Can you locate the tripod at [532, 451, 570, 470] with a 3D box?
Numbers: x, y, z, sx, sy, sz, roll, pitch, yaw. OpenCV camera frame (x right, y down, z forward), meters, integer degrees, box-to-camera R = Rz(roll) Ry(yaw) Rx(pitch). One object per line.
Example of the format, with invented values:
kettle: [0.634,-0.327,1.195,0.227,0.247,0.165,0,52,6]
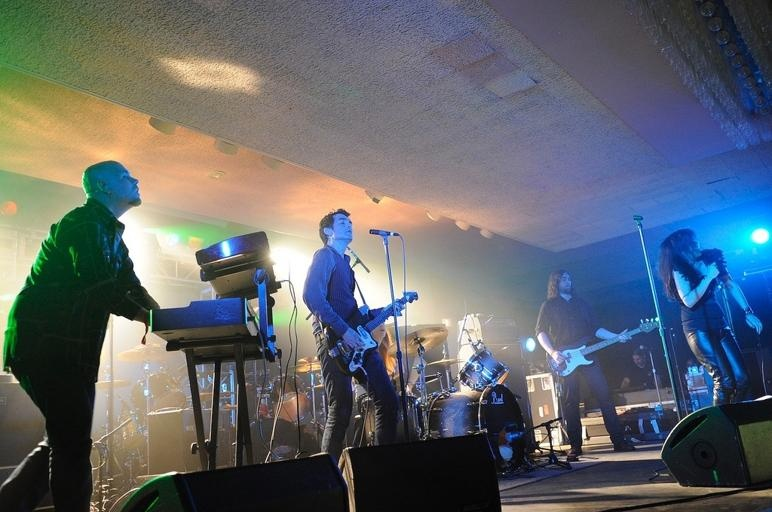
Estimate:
tripod: [1.946,2.423,5.935,0.311,0.126,0.307,-1,-31,5]

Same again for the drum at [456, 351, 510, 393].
drum: [1.212,1.449,6.371,0.525,0.190,0.547,-24,-40,-22]

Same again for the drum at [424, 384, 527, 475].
drum: [0.871,1.641,4.774,0.759,0.960,0.983,-13,-28,44]

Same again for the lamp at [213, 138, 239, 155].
lamp: [-1.872,-1.250,5.891,0.238,0.109,0.315,-5,-17,0]

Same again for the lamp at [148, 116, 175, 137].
lamp: [-2.433,-1.380,5.463,0.269,0.131,0.342,-3,-17,-8]

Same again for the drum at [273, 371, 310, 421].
drum: [-1.257,1.970,7.164,0.557,0.625,0.599,-6,-9,17]

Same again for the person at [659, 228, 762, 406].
person: [3.319,0.566,5.286,1.043,1.870,0.557,8,-21,-39]

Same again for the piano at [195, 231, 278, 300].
piano: [-1.117,0.080,3.795,0.520,0.414,0.316,-8,-17,9]

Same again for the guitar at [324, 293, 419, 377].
guitar: [-0.111,0.646,4.408,0.107,0.375,0.872,-21,9,46]

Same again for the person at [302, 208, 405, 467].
person: [-0.328,0.556,4.292,0.716,2.201,0.559,-5,-16,-3]
